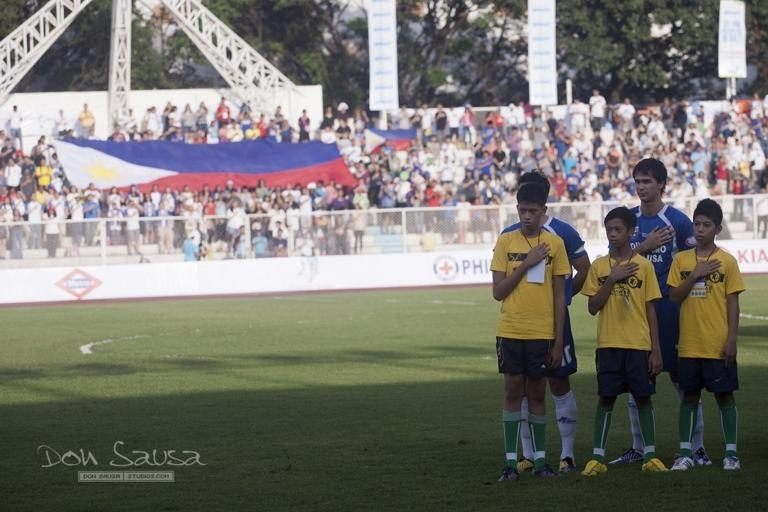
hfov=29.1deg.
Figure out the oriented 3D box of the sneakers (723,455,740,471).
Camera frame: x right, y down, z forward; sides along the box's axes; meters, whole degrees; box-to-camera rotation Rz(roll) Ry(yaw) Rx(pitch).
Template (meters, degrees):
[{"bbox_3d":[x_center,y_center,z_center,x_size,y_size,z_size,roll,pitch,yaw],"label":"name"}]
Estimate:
[{"bbox_3d":[7.347,4.321,30.999,0.357,0.288,0.266,-1,3,13],"label":"sneakers"}]
